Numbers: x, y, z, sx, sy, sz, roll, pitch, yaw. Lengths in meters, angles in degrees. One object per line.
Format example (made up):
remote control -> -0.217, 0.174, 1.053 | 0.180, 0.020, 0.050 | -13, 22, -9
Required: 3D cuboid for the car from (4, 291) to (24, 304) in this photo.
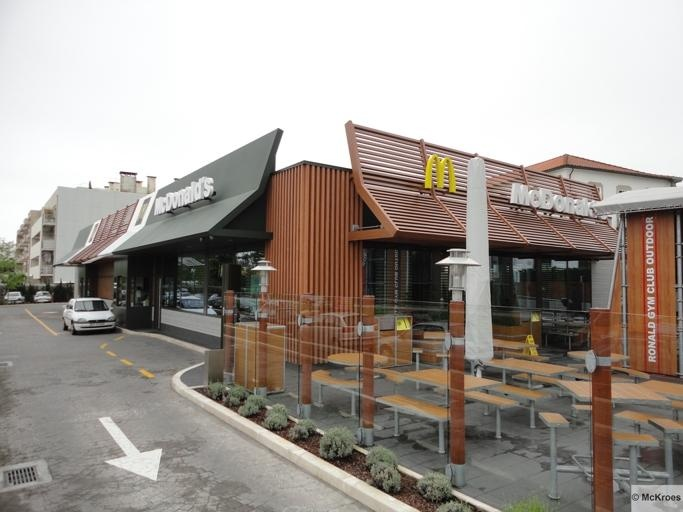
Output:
car -> -34.352, 4.441, 54.086 | 1.346, 1.036, 2.389 | 2, -10, -39
